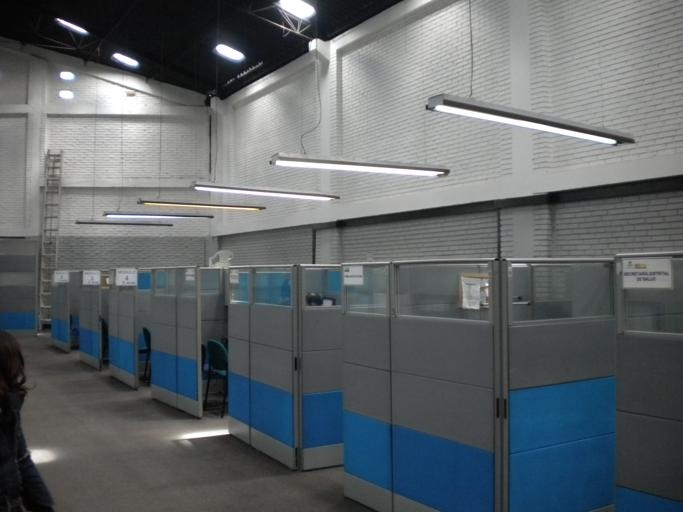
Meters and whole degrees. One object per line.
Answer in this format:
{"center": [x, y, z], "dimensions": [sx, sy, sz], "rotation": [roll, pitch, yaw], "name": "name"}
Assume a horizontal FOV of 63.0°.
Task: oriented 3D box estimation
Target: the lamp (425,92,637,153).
{"center": [1.883, -1.343, 5.486], "dimensions": [2.157, 0.159, 0.336], "rotation": [9, 2, -10], "name": "lamp"}

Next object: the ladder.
{"center": [-7.870, -0.408, 14.969], "dimensions": [0.682, 4.894, 0.457], "rotation": [0, 2, -9], "name": "ladder"}
